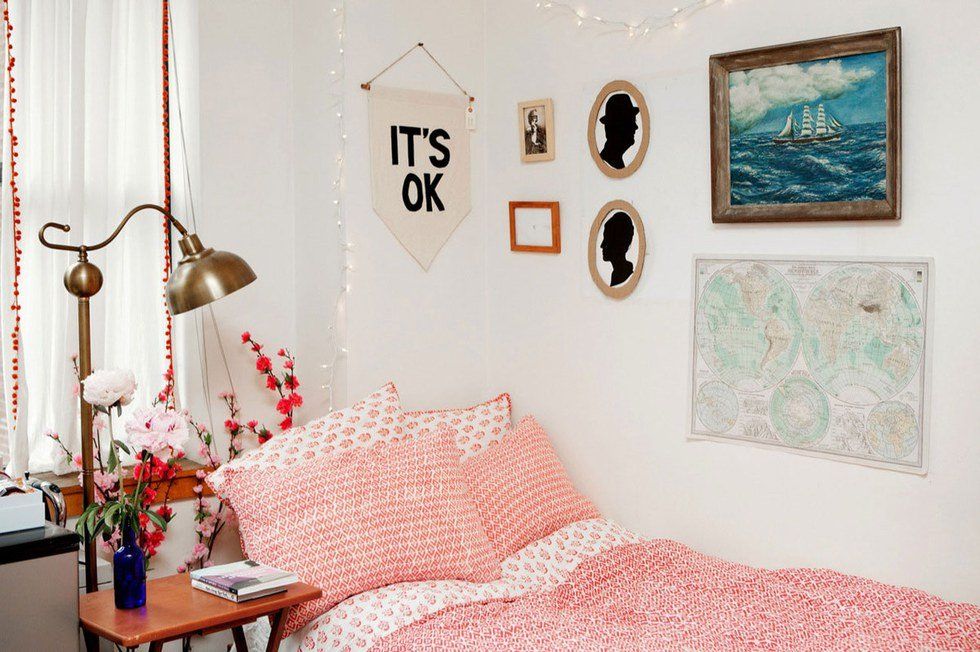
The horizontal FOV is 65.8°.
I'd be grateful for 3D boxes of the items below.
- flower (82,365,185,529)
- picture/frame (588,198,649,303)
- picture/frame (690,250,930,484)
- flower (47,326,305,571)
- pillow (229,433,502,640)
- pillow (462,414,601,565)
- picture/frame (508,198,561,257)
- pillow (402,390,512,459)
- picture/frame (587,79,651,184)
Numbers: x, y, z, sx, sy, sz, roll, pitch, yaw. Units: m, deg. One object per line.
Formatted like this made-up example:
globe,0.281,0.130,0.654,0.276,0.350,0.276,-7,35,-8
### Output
flower,-1.288,0.473,2.760,0.345,0.684,0.689,-3,5,-23
picture/frame,0.589,-0.343,3.411,0.028,0.622,0.425,0,1,-44
picture/frame,1.286,0.156,2.966,0.851,0.780,0.014,3,5,38
flower,-1.227,0.478,2.878,0.211,0.999,0.815,11,13,38
pillow,-0.422,0.760,2.694,0.874,0.654,0.267,-14,-16,-32
pillow,0.090,0.667,3.205,0.512,0.509,0.156,-25,-28,10
picture/frame,0.224,-0.481,3.667,0.261,0.252,0.028,2,5,34
pillow,-0.091,0.421,3.327,0.320,0.254,0.095,-11,-14,-37
picture/frame,0.588,-0.878,3.397,0.024,0.577,0.416,-4,8,-45
